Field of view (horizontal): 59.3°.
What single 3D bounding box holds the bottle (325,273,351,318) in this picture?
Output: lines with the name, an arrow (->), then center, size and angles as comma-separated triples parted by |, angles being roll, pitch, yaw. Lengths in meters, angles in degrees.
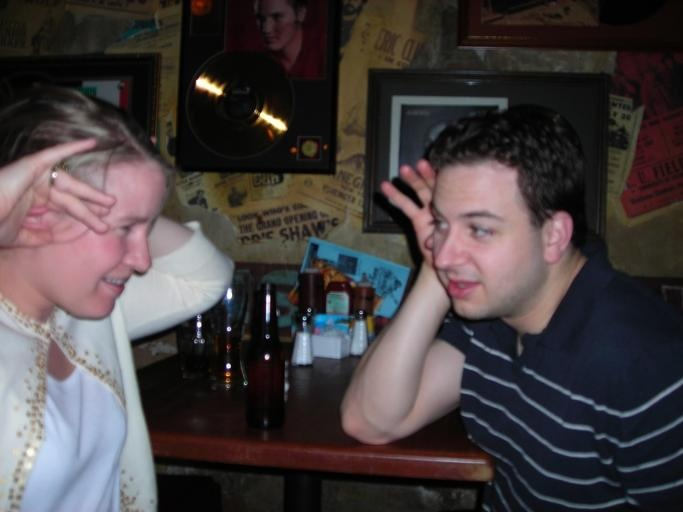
bottle -> -0.014, 0.187, 2.704 | 0.149, 0.134, 0.234 | 0, 78, 4
